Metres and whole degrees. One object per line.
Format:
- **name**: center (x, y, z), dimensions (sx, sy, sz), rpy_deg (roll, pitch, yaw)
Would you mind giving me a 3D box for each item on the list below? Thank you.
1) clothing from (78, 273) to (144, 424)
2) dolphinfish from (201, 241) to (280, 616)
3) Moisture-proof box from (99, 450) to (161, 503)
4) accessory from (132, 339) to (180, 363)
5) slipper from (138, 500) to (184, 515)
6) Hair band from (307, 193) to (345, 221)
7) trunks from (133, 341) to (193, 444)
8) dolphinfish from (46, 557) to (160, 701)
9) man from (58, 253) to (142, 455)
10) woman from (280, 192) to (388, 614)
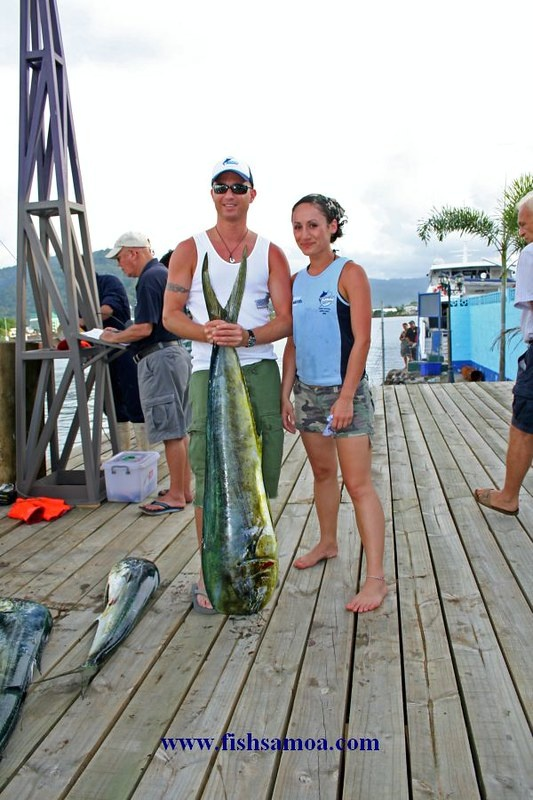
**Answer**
- **clothing**: center (-1.133, -0.375, 4.247), dimensions (0.310, 1.234, 0.542), rpy_deg (-5, -5, -3)
- **dolphinfish**: center (-0.107, 0.213, 1.670), dimensions (0.214, 0.751, 0.351), rpy_deg (-4, 6, -8)
- **Moisture-proof box**: center (-0.886, 0.489, 3.647), dimensions (0.244, 0.239, 0.362), rpy_deg (1, 12, 8)
- **accessory**: center (-0.664, -0.302, 3.232), dimensions (0.163, 0.040, 0.170), rpy_deg (-24, 12, 15)
- **slipper**: center (-0.639, 0.633, 3.275), dimensions (0.174, 0.056, 0.100), rpy_deg (5, -4, -15)
- **Hair band**: center (0.203, -0.681, 1.966), dimensions (0.139, 0.090, 0.261), rpy_deg (-2, 6, 6)
- **trunks**: center (-0.598, -0.073, 3.384), dimensions (0.315, 0.600, 0.415), rpy_deg (-5, 4, 11)
- **dolphinfish**: center (-0.532, 0.708, 1.889), dimensions (0.098, 0.163, 0.407), rpy_deg (25, 26, 2)
- **man**: center (-1.178, -0.255, 4.270), dimensions (0.403, 1.921, 0.479), rpy_deg (-7, 1, 13)
- **woman**: center (0.238, 0.002, 2.119), dimensions (0.367, 1.490, 0.551), rpy_deg (-3, 6, 1)
